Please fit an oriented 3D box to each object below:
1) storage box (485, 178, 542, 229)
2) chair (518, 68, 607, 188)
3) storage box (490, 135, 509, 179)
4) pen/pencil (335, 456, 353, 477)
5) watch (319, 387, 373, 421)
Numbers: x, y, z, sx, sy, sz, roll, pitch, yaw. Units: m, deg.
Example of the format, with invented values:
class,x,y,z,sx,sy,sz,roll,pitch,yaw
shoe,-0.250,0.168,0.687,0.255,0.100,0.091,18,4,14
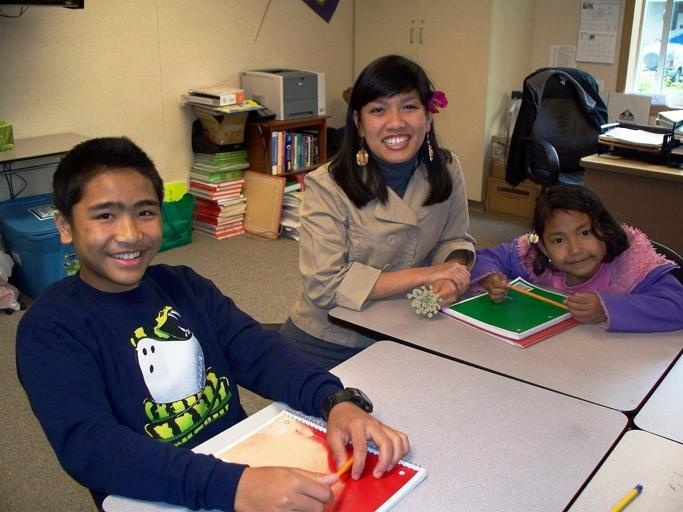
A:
class,x,y,z,sx,sy,sz,roll,pitch,yaw
storage box,1.606,-0.527,4.861,0.575,0.424,0.391,24,21,30
chair,1.654,-1.011,3.913,0.539,0.799,0.973,13,25,35
storage box,1.490,-0.938,4.857,0.076,0.394,0.193,-10,21,-22
pen/pencil,0.007,0.435,1.045,0.015,0.016,0.061,32,38,17
watch,0.013,0.334,1.183,0.103,0.106,0.063,-42,71,-10
